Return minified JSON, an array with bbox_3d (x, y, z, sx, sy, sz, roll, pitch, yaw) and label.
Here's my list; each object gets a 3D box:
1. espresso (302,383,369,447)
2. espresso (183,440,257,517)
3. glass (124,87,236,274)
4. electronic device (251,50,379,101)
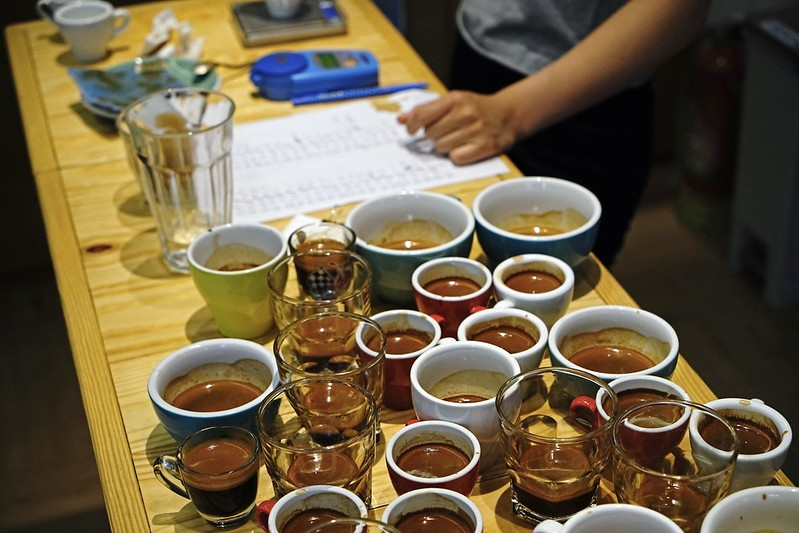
[{"bbox_3d":[-0.086,0.175,0.766,0.072,0.075,0.057,5,79,-22],"label":"espresso"},{"bbox_3d":[-0.220,0.261,0.755,0.099,0.081,0.077,18,42,-29],"label":"espresso"},{"bbox_3d":[-0.372,-0.158,1.089,0.157,0.246,0.154,12,39,5],"label":"glass"},{"bbox_3d":[-0.200,-0.477,1.459,0.254,0.085,0.139,-6,37,-13],"label":"electronic device"}]
